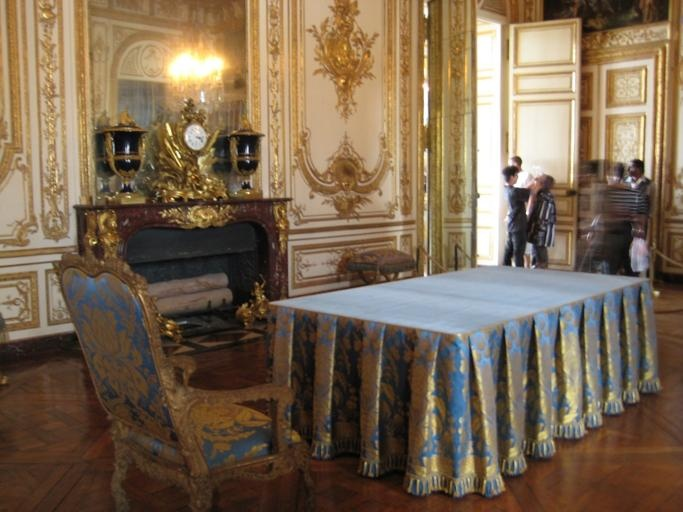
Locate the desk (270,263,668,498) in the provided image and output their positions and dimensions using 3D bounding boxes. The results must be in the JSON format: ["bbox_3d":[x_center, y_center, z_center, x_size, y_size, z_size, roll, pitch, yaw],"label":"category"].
[{"bbox_3d":[0.719,0.567,3.212,2.035,0.771,1.086,-5,15,-30],"label":"desk"}]

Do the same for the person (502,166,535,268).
[{"bbox_3d":[2.122,-0.486,7.350,0.394,1.198,0.555,6,13,19],"label":"person"}]

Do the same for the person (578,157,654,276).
[{"bbox_3d":[3.087,-0.329,7.015,0.711,1.213,1.584,7,13,20],"label":"person"}]

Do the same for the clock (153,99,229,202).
[{"bbox_3d":[-1.302,-0.896,5.126,0.802,1.069,0.125,-5,8,-43],"label":"clock"}]

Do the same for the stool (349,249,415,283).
[{"bbox_3d":[0.534,0.074,6.199,0.468,0.283,0.459,-11,15,-7],"label":"stool"}]

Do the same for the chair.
[{"bbox_3d":[-0.713,0.295,2.779,0.846,1.564,1.037,8,13,39],"label":"chair"}]
